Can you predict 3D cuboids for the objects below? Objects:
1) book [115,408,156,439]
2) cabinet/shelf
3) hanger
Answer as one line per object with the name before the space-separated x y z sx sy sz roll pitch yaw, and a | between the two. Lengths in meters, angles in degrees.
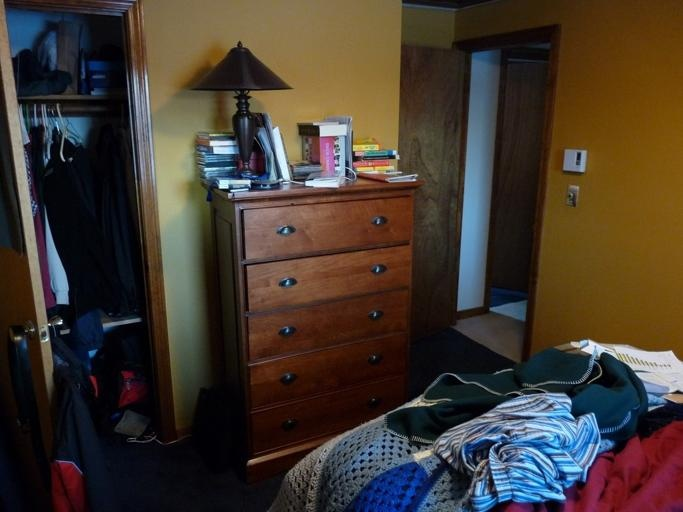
book | -1.296 1.043 3.404 0.217 0.130 0.167 -6 18 -16
cabinet/shelf | -0.149 0.336 3.230 1.080 1.539 0.551 -8 17 -28
hanger | -1.609 -0.668 3.019 0.242 0.333 0.374 -7 18 -18
